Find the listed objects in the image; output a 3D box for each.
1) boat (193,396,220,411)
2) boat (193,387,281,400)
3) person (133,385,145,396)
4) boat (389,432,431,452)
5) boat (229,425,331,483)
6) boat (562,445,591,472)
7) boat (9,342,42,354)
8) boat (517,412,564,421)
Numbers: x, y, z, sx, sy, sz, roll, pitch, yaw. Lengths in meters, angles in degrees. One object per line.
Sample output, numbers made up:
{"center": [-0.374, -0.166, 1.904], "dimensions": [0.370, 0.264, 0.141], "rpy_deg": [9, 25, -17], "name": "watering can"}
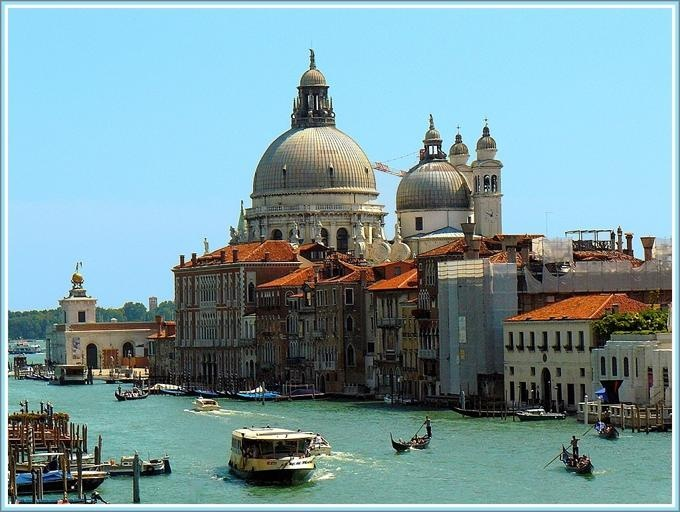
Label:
{"center": [-10.736, 11.779, 125.163], "dimensions": [1.953, 1.390, 4.526], "rpy_deg": [-1, -10, -7], "name": "boat"}
{"center": [-9.040, 12.078, 139.468], "dimensions": [1.117, 1.203, 6.342], "rpy_deg": [5, -6, -41], "name": "boat"}
{"center": [-18.410, 12.246, 144.918], "dimensions": [0.652, 1.055, 2.359], "rpy_deg": [0, -5, -12], "name": "person"}
{"center": [3.918, 10.852, 91.235], "dimensions": [2.447, 1.080, 1.437], "rpy_deg": [2, -10, -20], "name": "boat"}
{"center": [-3.800, 10.649, 83.517], "dimensions": [5.226, 3.074, 2.007], "rpy_deg": [-10, -12, 41], "name": "boat"}
{"center": [12.132, 10.866, 83.264], "dimensions": [0.638, 0.953, 2.481], "rpy_deg": [1, 1, -12], "name": "boat"}
{"center": [-67.212, 19.303, 336.001], "dimensions": [1.655, 2.609, 6.785], "rpy_deg": [-2, -9, 21], "name": "boat"}
{"center": [12.817, 10.448, 103.183], "dimensions": [2.625, 0.693, 1.044], "rpy_deg": [2, -6, 11], "name": "boat"}
